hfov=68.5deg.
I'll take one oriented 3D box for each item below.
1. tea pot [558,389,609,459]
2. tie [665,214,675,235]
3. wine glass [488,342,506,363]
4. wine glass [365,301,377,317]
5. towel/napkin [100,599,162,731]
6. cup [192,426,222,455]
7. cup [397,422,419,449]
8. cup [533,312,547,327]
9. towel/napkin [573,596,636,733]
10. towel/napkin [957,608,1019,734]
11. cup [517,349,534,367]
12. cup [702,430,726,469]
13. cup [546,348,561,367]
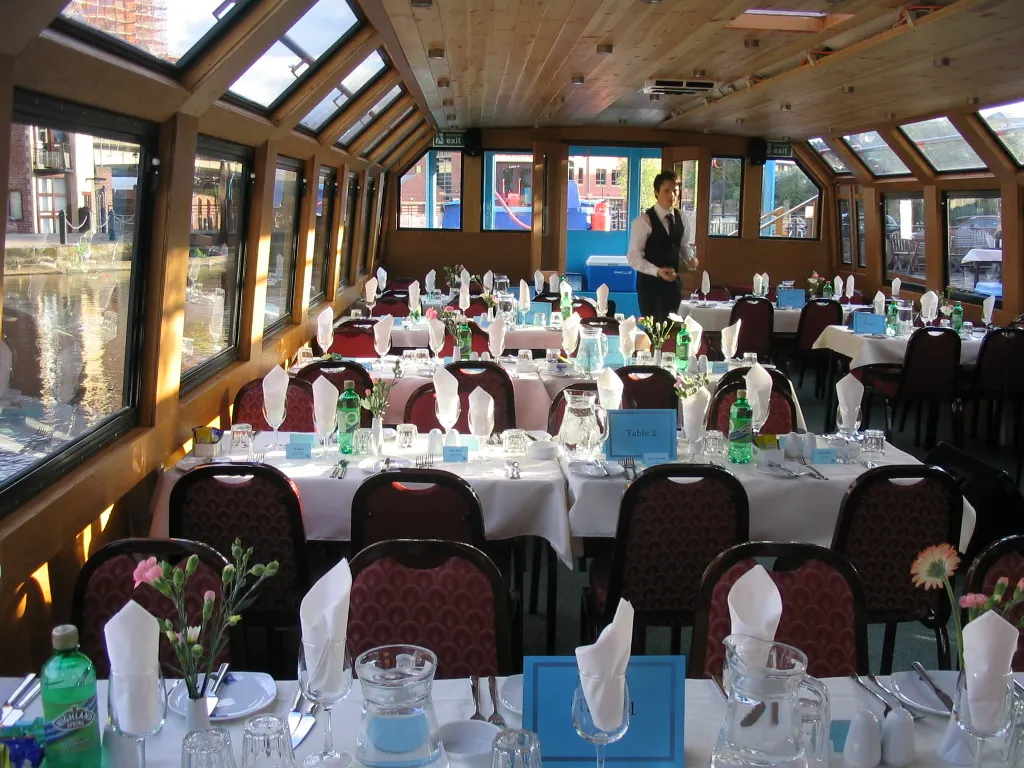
[{"bbox_3d":[0.385,0.210,4.048,0.289,0.327,0.223,2,1,8],"label":"tea pot"},{"bbox_3d":[1.764,-1.848,8.374,0.050,0.250,0.066,-3,2,-9],"label":"tie"},{"bbox_3d":[-0.141,-0.305,6.757,0.143,0.270,0.163,1,3,13],"label":"wine glass"},{"bbox_3d":[-1.833,-1.035,9.794,0.153,0.168,0.248,7,13,-8],"label":"wine glass"},{"bbox_3d":[-0.827,0.639,1.652,0.102,0.390,0.165,-2,6,-26],"label":"towel/napkin"},{"bbox_3d":[-1.541,0.281,3.795,0.084,0.073,0.166,0,7,-11],"label":"cup"},{"bbox_3d":[-0.560,0.261,4.124,0.103,0.169,0.112,1,-7,0],"label":"cup"},{"bbox_3d":[0.319,-0.789,8.556,0.132,0.172,0.143,1,1,0],"label":"cup"},{"bbox_3d":[0.185,0.573,1.503,0.110,0.271,0.067,1,5,1],"label":"towel/napkin"},{"bbox_3d":[0.997,0.606,1.584,0.092,0.298,0.134,4,6,34],"label":"towel/napkin"},{"bbox_3d":[0.112,-0.249,6.381,0.116,0.137,0.133,-2,5,2],"label":"cup"},{"bbox_3d":[1.080,0.327,4.028,0.149,0.168,0.161,0,-4,0],"label":"cup"},{"bbox_3d":[0.355,-0.254,6.485,0.097,0.178,0.166,0,2,5],"label":"cup"}]
